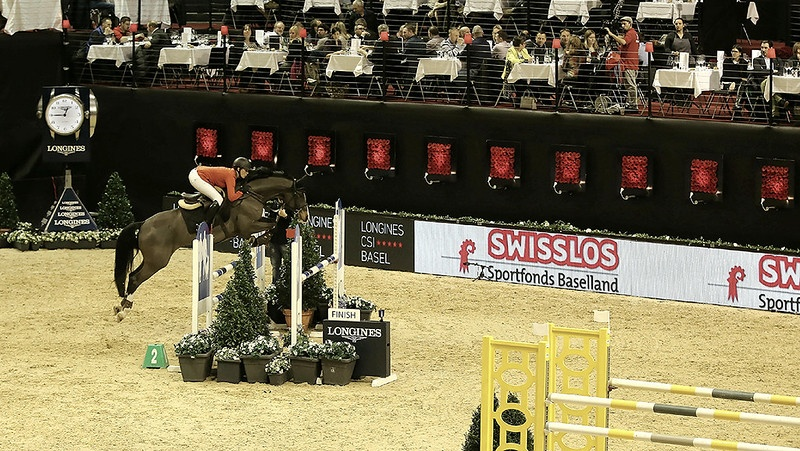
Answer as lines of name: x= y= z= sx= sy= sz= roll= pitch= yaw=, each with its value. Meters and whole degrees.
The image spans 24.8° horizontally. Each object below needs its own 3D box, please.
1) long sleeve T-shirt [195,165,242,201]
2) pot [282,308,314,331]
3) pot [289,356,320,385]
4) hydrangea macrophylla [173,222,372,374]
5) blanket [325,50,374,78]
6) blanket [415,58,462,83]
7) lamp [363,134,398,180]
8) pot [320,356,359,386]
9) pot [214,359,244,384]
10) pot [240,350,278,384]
long sleeve T-shirt: x=-4.240 y=-1.152 z=43.121 sx=0.977 sy=0.337 sz=0.712 roll=24 pitch=41 yaw=-11
pot: x=-2.382 y=2.120 z=42.596 sx=0.598 sy=0.403 sz=0.600 roll=-1 pitch=2 yaw=0
pot: x=-2.119 y=3.176 z=40.636 sx=0.739 sy=0.532 sz=0.588 roll=1 pitch=-5 yaw=11
hydrangea macrophylla: x=-3.272 y=1.652 z=41.420 sx=3.908 sy=3.463 sz=1.823 roll=1 pitch=5 yaw=-13
blanket: x=-1.282 y=-4.211 z=46.330 sx=1.168 sy=0.602 sz=0.360 roll=2 pitch=5 yaw=-3
blanket: x=0.949 y=-4.012 z=45.607 sx=1.128 sy=0.568 sz=0.404 roll=2 pitch=5 yaw=1
lamp: x=-0.447 y=-1.934 z=46.881 sx=0.417 sy=1.033 sz=1.410 roll=-2 pitch=2 yaw=-36
pot: x=-1.357 y=3.194 z=40.648 sx=0.740 sy=0.547 sz=0.621 roll=0 pitch=-2 yaw=19
pot: x=-3.792 y=3.216 z=40.495 sx=0.543 sy=0.375 sz=0.528 roll=1 pitch=0 yaw=0
pot: x=-3.216 y=3.127 z=40.479 sx=0.750 sy=0.567 sz=0.618 roll=0 pitch=-4 yaw=1
